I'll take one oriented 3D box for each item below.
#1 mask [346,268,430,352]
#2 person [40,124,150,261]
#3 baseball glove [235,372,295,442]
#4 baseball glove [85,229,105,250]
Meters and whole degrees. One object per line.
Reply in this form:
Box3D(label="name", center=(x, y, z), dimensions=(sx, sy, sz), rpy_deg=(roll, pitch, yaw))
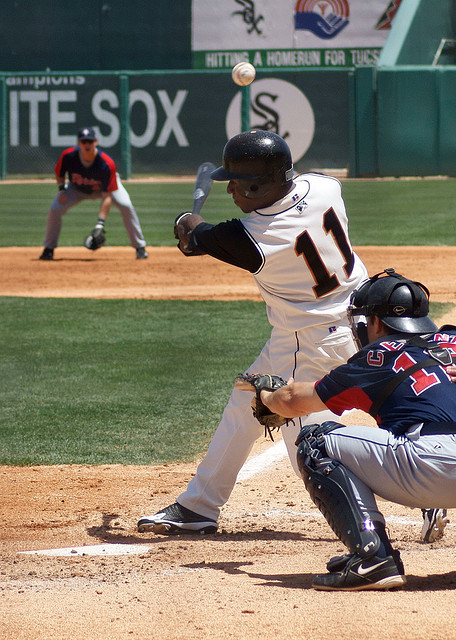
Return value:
Box3D(label="mask", center=(0.492, -0.054, 3.300), dimensions=(0.262, 0.266, 0.259), rpy_deg=(3, 11, 19))
Box3D(label="person", center=(-1.429, -1.414, 10.797), dimensions=(1.128, 1.488, 1.156), rpy_deg=(-1, 13, -8))
Box3D(label="baseball glove", center=(0.116, 0.276, 3.490), dimensions=(0.184, 0.245, 0.235), rpy_deg=(1, 13, 0))
Box3D(label="baseball glove", center=(-1.350, -0.926, 10.503), dimensions=(0.218, 0.204, 0.156), rpy_deg=(-23, 27, -36))
